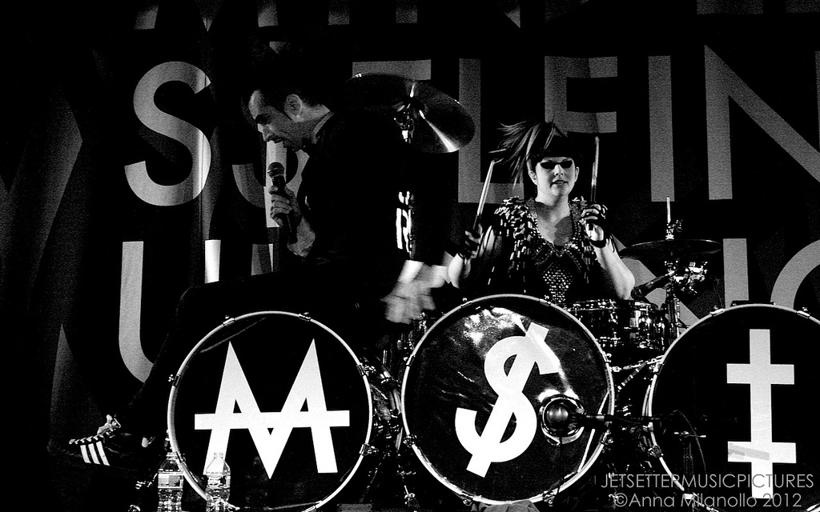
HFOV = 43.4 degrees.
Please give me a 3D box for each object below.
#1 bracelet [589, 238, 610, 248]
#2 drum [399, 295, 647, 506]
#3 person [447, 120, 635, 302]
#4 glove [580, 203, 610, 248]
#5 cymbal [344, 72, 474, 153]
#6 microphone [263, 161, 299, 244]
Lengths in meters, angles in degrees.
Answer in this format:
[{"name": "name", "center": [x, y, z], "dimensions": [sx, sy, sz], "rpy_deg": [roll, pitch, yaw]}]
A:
[{"name": "bracelet", "center": [1.094, -0.079, 5.947], "dimensions": [0.067, 0.015, 0.060], "rpy_deg": [28, 92, -3]}, {"name": "drum", "center": [0.509, 0.751, 5.445], "dimensions": [1.115, 0.463, 1.032], "rpy_deg": [-1, 63, 1]}, {"name": "person", "center": [0.773, -0.230, 5.978], "dimensions": [1.105, 0.732, 1.172], "rpy_deg": [-1, 76, 1]}, {"name": "glove", "center": [1.071, -0.183, 6.031], "dimensions": [0.198, 0.065, 0.238], "rpy_deg": [-22, 88, 1]}, {"name": "cymbal", "center": [0.036, -0.909, 6.004], "dimensions": [0.717, 0.644, 0.212], "rpy_deg": [13, 87, -26]}, {"name": "microphone", "center": [-0.719, -0.324, 6.061], "dimensions": [0.150, 0.141, 0.466], "rpy_deg": [-13, 97, 13]}]
